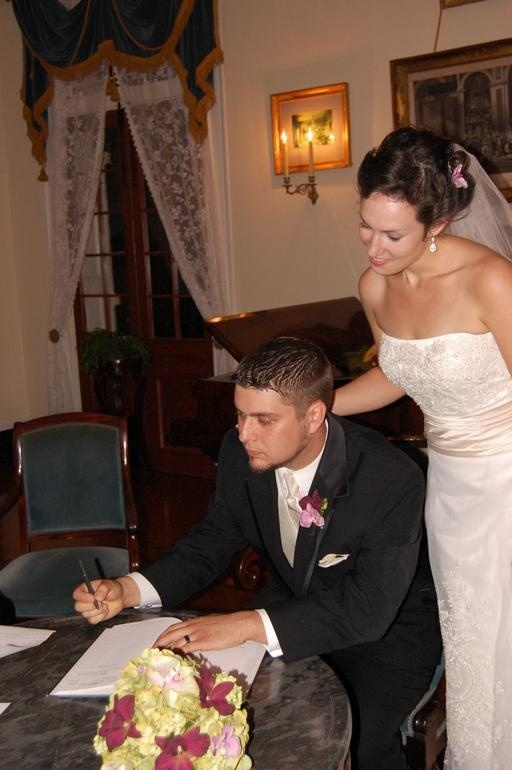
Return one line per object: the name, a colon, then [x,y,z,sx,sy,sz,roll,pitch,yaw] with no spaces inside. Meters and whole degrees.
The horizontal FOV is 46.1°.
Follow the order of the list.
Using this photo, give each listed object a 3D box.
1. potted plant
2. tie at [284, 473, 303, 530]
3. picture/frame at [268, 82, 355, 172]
potted plant: [-1.224,-0.129,5.378,0.586,0.807,0.515,4,17,31]
tie: [0.093,0.290,1.480,0.027,0.113,0.066,-10,0,4]
picture/frame: [0.415,-1.819,4.236,0.730,0.696,0.063,0,6,31]
